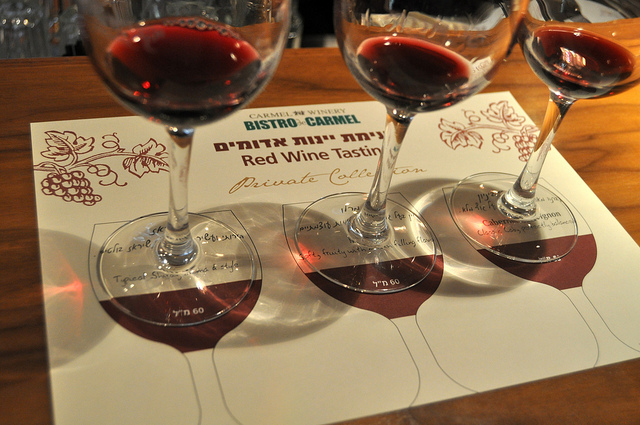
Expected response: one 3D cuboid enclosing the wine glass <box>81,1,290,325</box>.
[{"bbox_3d":[-0.160,-0.052,0.596,0.196,0.256,0.320,9,65,-1],"label":"wine glass"}]
